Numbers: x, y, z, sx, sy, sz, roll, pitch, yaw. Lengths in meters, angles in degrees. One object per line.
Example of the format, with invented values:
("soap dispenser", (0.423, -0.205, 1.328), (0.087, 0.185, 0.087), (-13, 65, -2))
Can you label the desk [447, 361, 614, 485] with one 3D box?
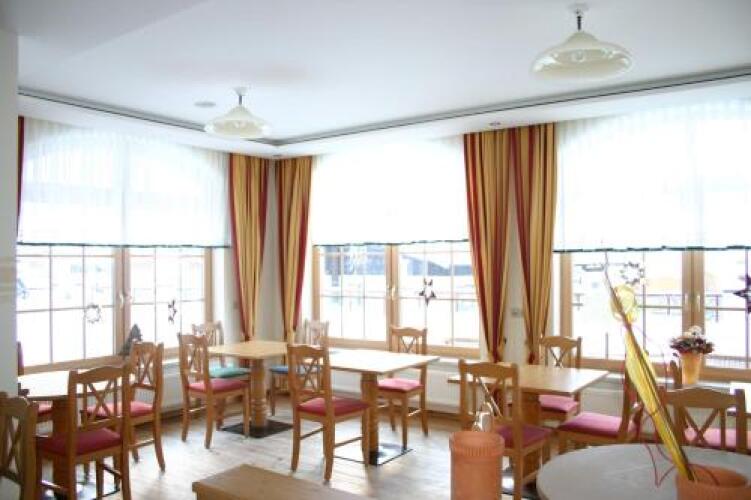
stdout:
("desk", (1.554, 1.405, 5.263), (1.162, 1.092, 1.178), (-1, -1, 31))

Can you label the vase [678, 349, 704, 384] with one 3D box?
("vase", (3.165, 1.195, 5.439), (0.240, 0.296, 0.229), (-4, -13, 30))

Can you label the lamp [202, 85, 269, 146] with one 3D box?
("lamp", (-1.299, -1.228, 5.114), (0.530, 0.262, 0.446), (2, 4, 39))

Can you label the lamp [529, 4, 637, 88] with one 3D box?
("lamp", (1.459, -1.334, 3.834), (0.609, 0.374, 0.616), (6, -11, -19))

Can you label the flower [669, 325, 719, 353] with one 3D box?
("flower", (3.216, 0.908, 5.489), (0.364, 0.230, 0.477), (1, 4, 27))
